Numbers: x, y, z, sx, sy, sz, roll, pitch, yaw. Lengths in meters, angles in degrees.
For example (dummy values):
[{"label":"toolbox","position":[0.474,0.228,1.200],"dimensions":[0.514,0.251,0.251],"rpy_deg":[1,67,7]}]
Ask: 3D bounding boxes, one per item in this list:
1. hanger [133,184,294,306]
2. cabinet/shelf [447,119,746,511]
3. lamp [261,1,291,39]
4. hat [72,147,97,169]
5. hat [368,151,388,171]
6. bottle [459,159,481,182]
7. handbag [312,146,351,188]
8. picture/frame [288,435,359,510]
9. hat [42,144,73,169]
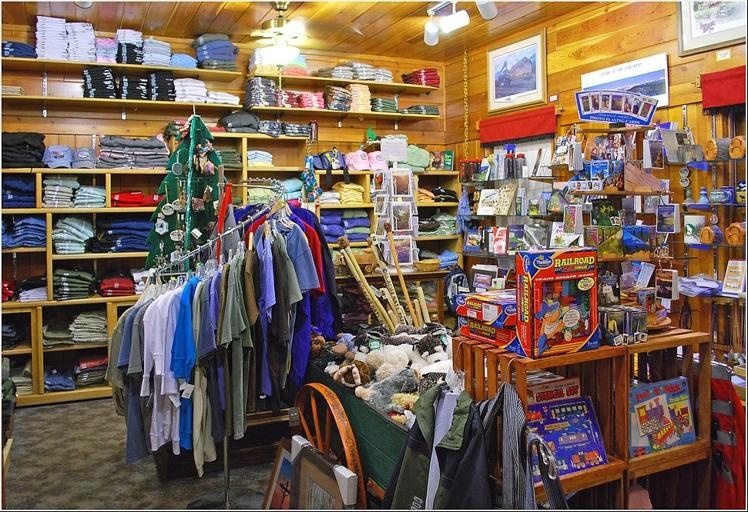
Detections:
[{"label":"hanger","position":[-1.352,-0.194,4.673],"dimensions":[1.058,0.872,1.089],"rpy_deg":[-3,5,-19]},{"label":"cabinet/shelf","position":[1.869,0.444,3.686],"dimensions":[2.752,2.618,0.992],"rpy_deg":[-5,7,-38]},{"label":"lamp","position":[-1.060,-2.497,5.736],"dimensions":[0.325,0.324,0.465],"rpy_deg":[-2,5,-10]},{"label":"hat","position":[-3.222,-1.087,5.989],"dimensions":[0.243,0.250,0.250],"rpy_deg":[-4,6,-29]},{"label":"hat","position":[0.033,-1.266,7.102],"dimensions":[0.210,0.321,0.142],"rpy_deg":[-5,-27,-9]},{"label":"bottle","position":[1.213,-1.083,6.856],"dimensions":[0.274,0.331,0.269],"rpy_deg":[-4,8,-37]},{"label":"handbag","position":[-0.578,-1.127,7.066],"dimensions":[0.441,0.448,0.506],"rpy_deg":[-9,3,-24]},{"label":"picture/frame","position":[-0.338,1.423,3.502],"dimensions":[0.064,0.442,0.475],"rpy_deg":[11,-10,-38]},{"label":"hat","position":[-3.445,-1.091,5.888],"dimensions":[0.217,0.167,0.330],"rpy_deg":[-1,8,-37]}]
